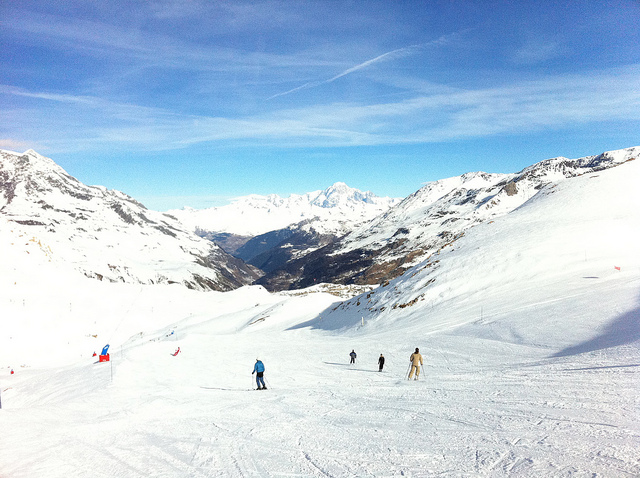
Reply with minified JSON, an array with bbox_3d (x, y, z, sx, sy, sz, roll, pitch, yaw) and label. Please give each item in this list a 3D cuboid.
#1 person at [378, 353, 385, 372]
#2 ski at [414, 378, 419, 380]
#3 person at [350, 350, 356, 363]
[{"bbox_3d":[4.987,10.199,48.619,0.548,1.480,0.965,-14,0,4],"label":"person"},{"bbox_3d":[7.246,10.563,44.515,0.257,0.086,0.340,-8,0,4],"label":"ski"},{"bbox_3d":[2.926,10.713,53.733,0.586,1.145,0.829,-13,0,-2],"label":"person"}]
